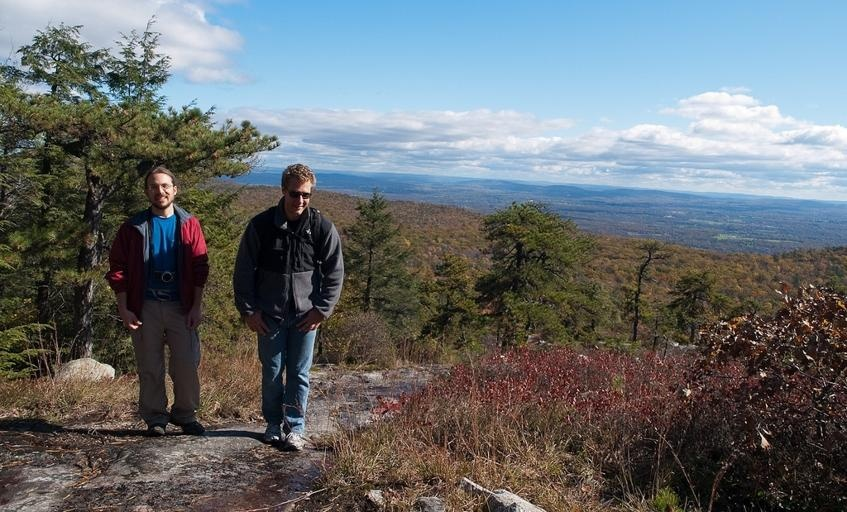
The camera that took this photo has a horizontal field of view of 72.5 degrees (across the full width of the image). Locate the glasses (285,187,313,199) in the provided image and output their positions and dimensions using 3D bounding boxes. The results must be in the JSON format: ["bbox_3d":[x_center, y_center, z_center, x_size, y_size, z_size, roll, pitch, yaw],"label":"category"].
[{"bbox_3d":[-1.509,-0.755,7.004,0.295,0.105,0.109,3,7,-14],"label":"glasses"}]

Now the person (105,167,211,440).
[{"bbox_3d":[-3.261,0.550,7.201,1.223,3.330,0.667,5,8,-10],"label":"person"}]

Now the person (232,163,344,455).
[{"bbox_3d":[-1.700,0.627,7.142,1.279,3.507,0.632,5,8,-8],"label":"person"}]

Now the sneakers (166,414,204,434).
[{"bbox_3d":[-2.952,2.131,7.354,0.535,0.200,0.191,7,5,5],"label":"sneakers"}]

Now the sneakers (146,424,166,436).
[{"bbox_3d":[-3.292,2.162,7.129,0.121,0.083,0.210,8,-12,-33],"label":"sneakers"}]
